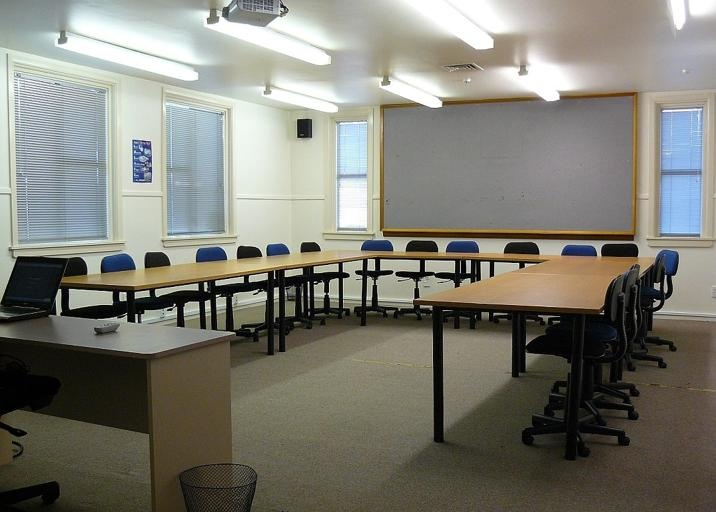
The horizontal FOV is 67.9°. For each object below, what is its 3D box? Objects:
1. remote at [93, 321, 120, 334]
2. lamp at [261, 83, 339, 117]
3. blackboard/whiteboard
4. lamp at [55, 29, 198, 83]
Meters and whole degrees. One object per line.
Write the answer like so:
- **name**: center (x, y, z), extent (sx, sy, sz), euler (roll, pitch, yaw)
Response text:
- **remote**: center (-1.443, 0.405, 3.027), extent (0.062, 0.038, 0.112), euler (1, 0, 16)
- **lamp**: center (-0.873, -2.363, 8.077), extent (1.558, 0.234, 0.355), euler (10, 14, -33)
- **blackboard/whiteboard**: center (2.326, -1.426, 8.736), extent (4.098, 2.191, 0.102), euler (2, 10, 18)
- **lamp**: center (-2.579, -2.265, 6.052), extent (0.308, 0.180, 1.530), euler (1, 3, 38)
